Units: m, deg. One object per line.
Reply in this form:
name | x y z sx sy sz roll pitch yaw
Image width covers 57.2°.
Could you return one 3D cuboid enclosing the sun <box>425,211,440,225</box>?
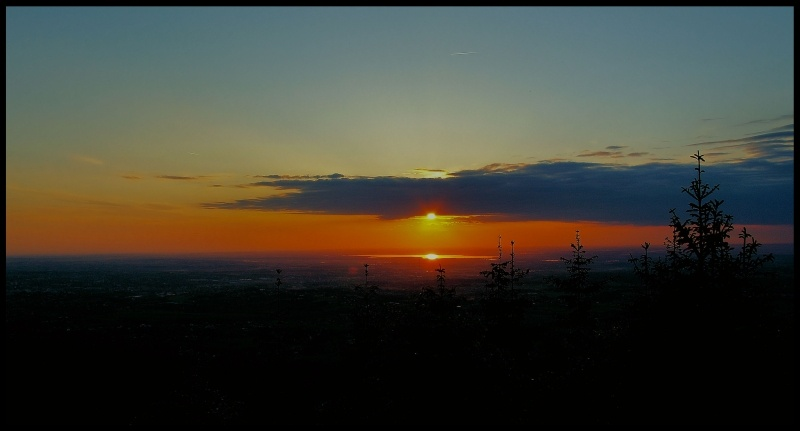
sun | 1.911 0.147 45.156 0.812 0.784 0.803 8 14 38
